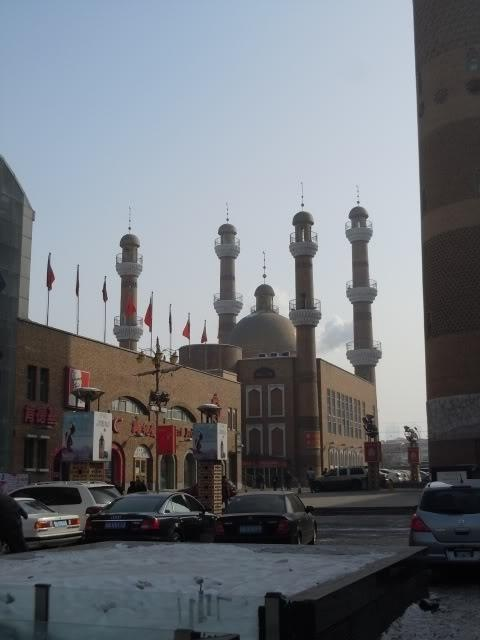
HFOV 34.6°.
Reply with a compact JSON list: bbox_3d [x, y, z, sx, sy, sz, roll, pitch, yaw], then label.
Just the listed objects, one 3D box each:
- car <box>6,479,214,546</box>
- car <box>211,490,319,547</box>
[{"bbox_3d":[-2.296,3.701,14.894,2.813,1.140,5.394,5,-14,-32],"label":"car"},{"bbox_3d":[0.404,3.289,12.574,1.303,0.890,2.284,-7,-13,24],"label":"car"}]
